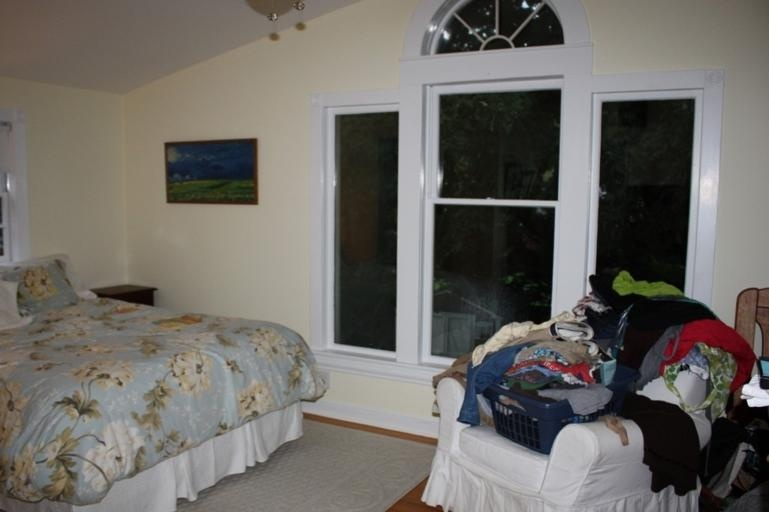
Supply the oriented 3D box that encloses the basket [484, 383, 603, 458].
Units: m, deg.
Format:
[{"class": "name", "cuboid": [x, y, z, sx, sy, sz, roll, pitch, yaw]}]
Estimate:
[{"class": "basket", "cuboid": [0.897, 0.936, 3.565, 0.391, 0.245, 0.499, -2, 6, -32]}]
